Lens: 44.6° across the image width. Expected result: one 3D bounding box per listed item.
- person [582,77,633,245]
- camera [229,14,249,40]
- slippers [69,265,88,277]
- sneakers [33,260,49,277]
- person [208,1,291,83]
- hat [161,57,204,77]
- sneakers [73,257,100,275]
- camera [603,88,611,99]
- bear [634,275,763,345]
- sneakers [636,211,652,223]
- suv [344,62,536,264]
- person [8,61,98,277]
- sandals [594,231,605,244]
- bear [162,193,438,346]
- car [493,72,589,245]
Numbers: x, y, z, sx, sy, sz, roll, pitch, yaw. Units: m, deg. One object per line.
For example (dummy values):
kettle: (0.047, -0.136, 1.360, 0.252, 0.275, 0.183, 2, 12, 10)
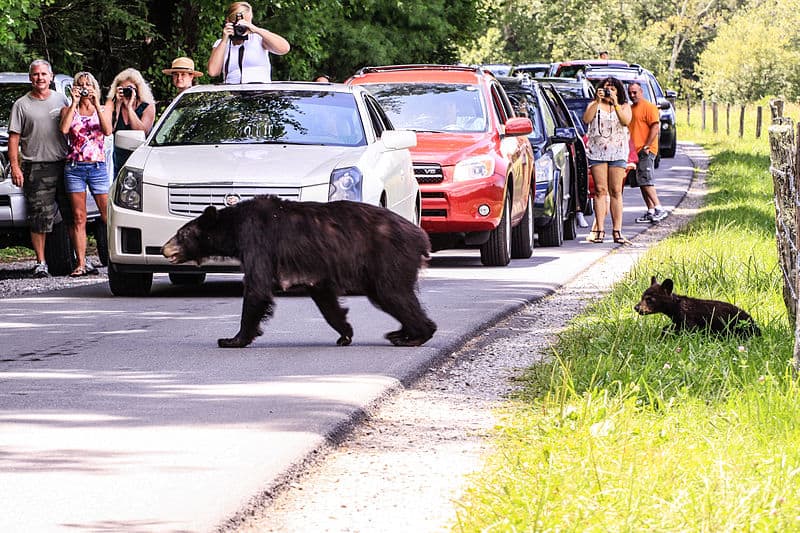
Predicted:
person: (3.402, -1.706, 15.899, 0.705, 2.748, 0.946, -1, 7, 14)
camera: (-2.046, -3.085, 12.468, 0.276, 0.503, 0.275, -1, 14, -6)
slippers: (-4.368, 0.068, 13.235, 0.127, 0.120, 0.373, 0, -1, -7)
sneakers: (-4.872, 0.041, 13.225, 0.197, 0.248, 0.513, -1, 0, -20)
person: (-2.039, -2.931, 12.630, 1.089, 1.086, 0.567, 0, 7, 18)
hat: (-3.090, -2.851, 13.965, 0.469, 0.193, 0.556, 0, -5, -4)
sneakers: (-4.312, 0.031, 13.383, 0.141, 0.183, 0.436, 0, -6, 0)
camera: (3.281, -2.769, 15.414, 0.092, 0.047, 0.124, -34, 53, -31)
bear: (2.459, 0.402, 8.036, 0.986, 0.518, 0.319, 4, 11, 0)
sneakers: (4.650, -0.925, 18.535, 0.351, 0.163, 0.127, 2, 3, 32)
suv: (0.905, -1.607, 14.440, 1.943, 1.849, 3.367, 0, 0, 9)
person: (-4.771, -1.310, 12.969, 0.813, 2.875, 0.539, -5, 7, -20)
sandals: (3.374, -0.491, 16.492, 0.169, 0.226, 0.530, 0, -1, 9)
bear: (-0.859, 0.067, 8.259, 2.273, 1.409, 0.719, -1, 2, -5)
car: (2.470, -1.911, 16.824, 1.654, 1.621, 2.981, 0, 3, 9)
